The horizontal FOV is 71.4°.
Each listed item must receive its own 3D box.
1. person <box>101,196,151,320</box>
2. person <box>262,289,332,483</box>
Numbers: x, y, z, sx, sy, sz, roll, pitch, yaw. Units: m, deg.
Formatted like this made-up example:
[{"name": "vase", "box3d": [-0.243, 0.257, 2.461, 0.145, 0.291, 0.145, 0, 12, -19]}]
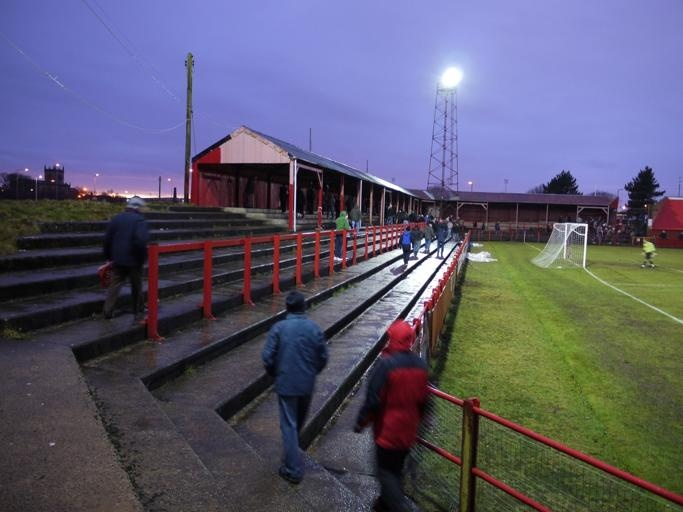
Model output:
[{"name": "person", "box3d": [-3.295, 0.053, 7.318, 0.688, 1.967, 0.463, 11, 7, 20]}, {"name": "person", "box3d": [-0.543, 1.298, 4.932, 0.640, 1.793, 0.509, 10, 7, 16]}]
